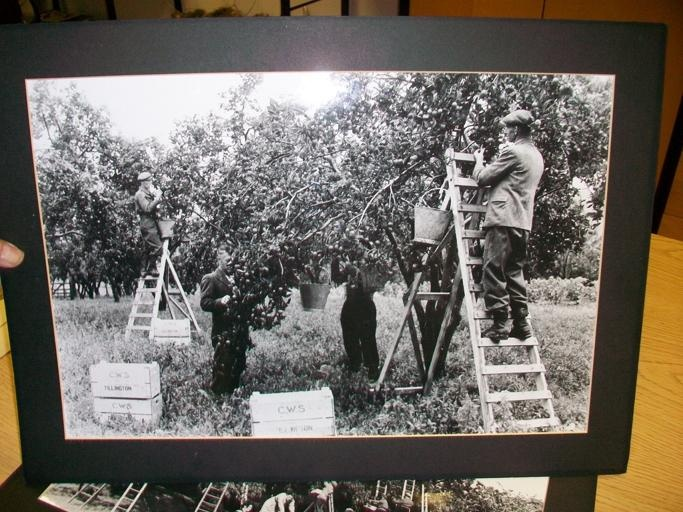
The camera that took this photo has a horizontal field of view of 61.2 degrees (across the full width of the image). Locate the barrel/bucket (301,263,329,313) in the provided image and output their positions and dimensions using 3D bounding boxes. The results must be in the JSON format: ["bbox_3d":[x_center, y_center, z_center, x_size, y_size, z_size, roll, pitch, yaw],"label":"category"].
[{"bbox_3d":[-0.068,0.093,1.690,0.111,0.134,0.106,5,-5,0],"label":"barrel/bucket"}]

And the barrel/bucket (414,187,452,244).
[{"bbox_3d":[0.260,-0.125,1.681,0.109,0.162,0.086,10,12,-2],"label":"barrel/bucket"}]
